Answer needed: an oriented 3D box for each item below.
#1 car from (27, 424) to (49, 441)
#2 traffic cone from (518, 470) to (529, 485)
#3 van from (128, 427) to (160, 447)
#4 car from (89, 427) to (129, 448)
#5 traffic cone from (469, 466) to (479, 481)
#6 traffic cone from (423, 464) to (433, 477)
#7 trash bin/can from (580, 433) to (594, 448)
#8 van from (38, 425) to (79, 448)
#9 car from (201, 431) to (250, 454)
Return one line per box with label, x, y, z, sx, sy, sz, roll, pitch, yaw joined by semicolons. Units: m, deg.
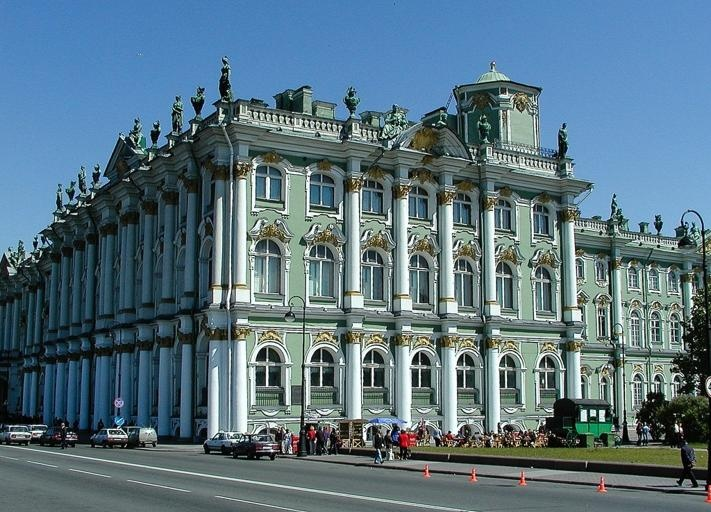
car;-25.272;14.093;83.011;1.242;1.113;2.179;3;0;-26
traffic cone;8.852;11.470;54.233;0.618;0.913;0.607;-2;-3;-5
van;-15.534;12.988;75.568;1.148;1.095;2.050;5;-11;-33
car;-17.881;13.178;76.140;1.331;1.386;3.306;14;-20;-41
traffic cone;6.443;11.633;55.655;0.597;0.695;0.596;-2;1;-12
traffic cone;4.075;11.825;57.786;0.589;0.715;0.604;-3;0;3
trash bin/can;17.058;13.376;76.052;0.705;1.282;1.267;3;-3;-20
van;-22.283;13.508;78.581;1.519;1.125;3.211;8;-9;-39
car;-8.793;12.393;69.803;1.396;0.908;2.584;8;-11;-43
